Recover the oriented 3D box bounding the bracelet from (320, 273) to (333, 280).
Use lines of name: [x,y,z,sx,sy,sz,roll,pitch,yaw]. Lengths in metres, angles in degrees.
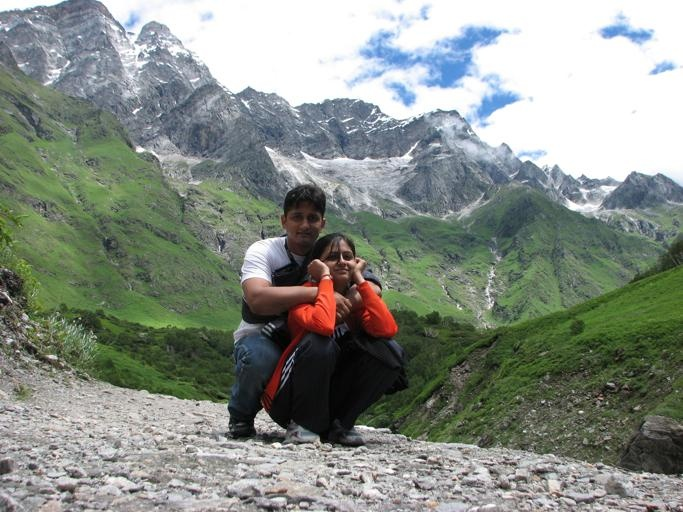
bracelet: [-0.275,0.391,9.720,0.162,0.110,0.126,3,1,15]
